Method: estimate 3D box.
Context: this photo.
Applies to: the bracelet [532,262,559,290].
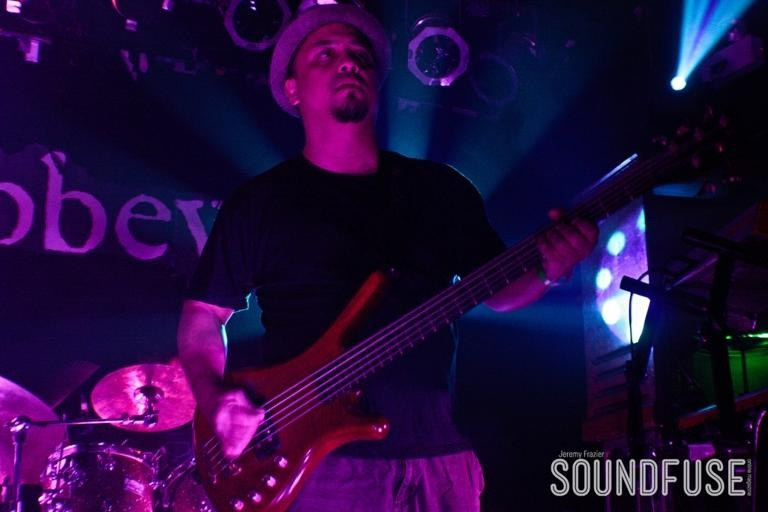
[{"bbox_3d":[0.962,0.113,3.987,0.019,0.065,0.149,-7,26,-40],"label":"bracelet"}]
